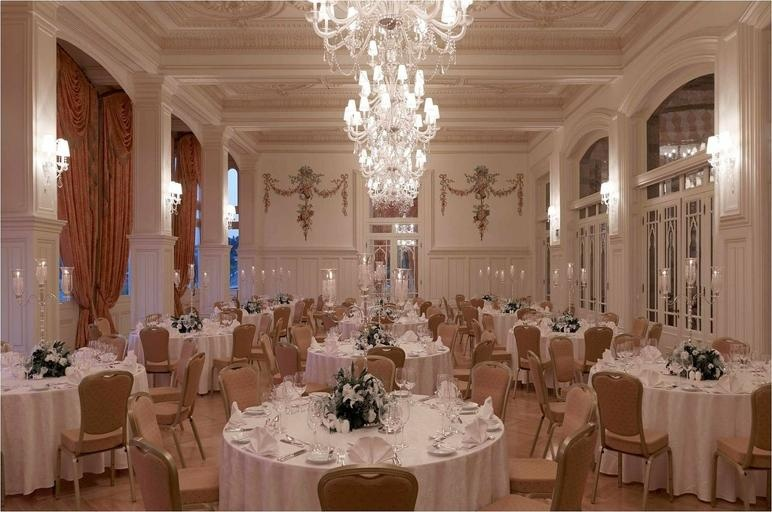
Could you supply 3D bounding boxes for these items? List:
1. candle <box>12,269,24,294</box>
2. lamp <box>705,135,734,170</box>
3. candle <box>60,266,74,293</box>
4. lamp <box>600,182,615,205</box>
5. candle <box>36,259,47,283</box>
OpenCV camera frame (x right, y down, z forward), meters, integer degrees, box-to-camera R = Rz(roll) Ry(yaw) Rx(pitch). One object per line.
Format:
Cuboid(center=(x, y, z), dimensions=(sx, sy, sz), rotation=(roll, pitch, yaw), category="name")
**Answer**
Cuboid(center=(-5.293, 0.381, 8.411), dimensions=(0.116, 0.355, 0.122), rotation=(4, -7, -35), category="candle")
Cuboid(center=(5.598, -1.848, 9.914), dimensions=(0.435, 0.484, 0.548), rotation=(7, -22, 29), category="lamp")
Cuboid(center=(-4.769, 0.377, 8.752), dimensions=(0.108, 0.411, 0.216), rotation=(2, -6, -20), category="candle")
Cuboid(center=(5.049, -1.414, 13.364), dimensions=(0.194, 0.545, 0.532), rotation=(-1, -7, 8), category="lamp")
Cuboid(center=(-5.105, 0.221, 8.666), dimensions=(0.118, 0.393, 0.260), rotation=(4, -7, -37), category="candle")
